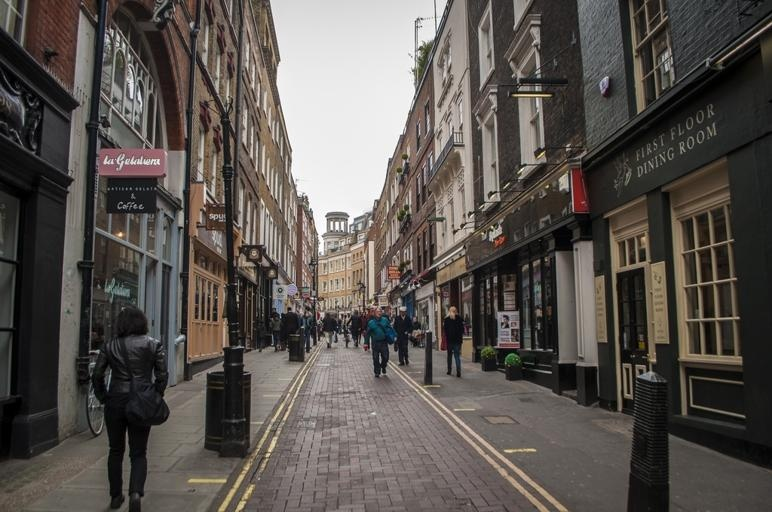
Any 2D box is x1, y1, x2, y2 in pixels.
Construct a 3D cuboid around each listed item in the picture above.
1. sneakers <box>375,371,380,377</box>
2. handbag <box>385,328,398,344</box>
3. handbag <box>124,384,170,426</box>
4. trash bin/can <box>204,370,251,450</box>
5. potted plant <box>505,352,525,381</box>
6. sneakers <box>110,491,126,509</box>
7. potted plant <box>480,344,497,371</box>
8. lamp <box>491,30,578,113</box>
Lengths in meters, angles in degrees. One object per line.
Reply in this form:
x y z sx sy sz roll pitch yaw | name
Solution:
-0.282 3.426 18.434 0.099 0.218 0.114 1 -6 4 | sneakers
0.083 2.319 18.721 0.275 0.482 0.752 -1 -13 -1 | handbag
-3.237 2.002 8.606 0.273 0.563 0.510 -20 -23 31 | handbag
-2.639 2.572 10.621 0.708 1.297 0.560 1 -11 -14 | trash bin/can
3.367 3.103 17.893 0.520 0.881 0.581 0 -8 -3 | potted plant
-3.622 3.289 8.662 0.086 0.195 0.274 2 13 0 | sneakers
3.077 3.224 19.989 0.531 0.947 0.595 1 -7 -3 | potted plant
3.623 -4.679 16.116 1.452 0.780 1.638 1 -11 -6 | lamp
